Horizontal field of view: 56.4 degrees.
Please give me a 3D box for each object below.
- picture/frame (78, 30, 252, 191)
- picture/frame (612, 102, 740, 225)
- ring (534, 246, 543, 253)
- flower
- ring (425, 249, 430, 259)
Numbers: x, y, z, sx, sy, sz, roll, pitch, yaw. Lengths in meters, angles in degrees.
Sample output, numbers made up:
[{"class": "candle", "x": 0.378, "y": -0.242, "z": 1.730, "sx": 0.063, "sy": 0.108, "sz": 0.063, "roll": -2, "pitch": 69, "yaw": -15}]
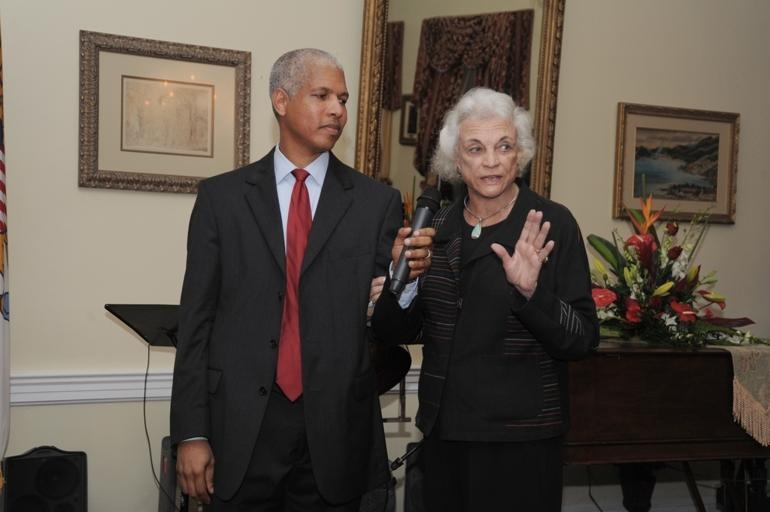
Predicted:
[{"class": "picture/frame", "x": -1.418, "y": -0.899, "z": 4.469, "sx": 1.084, "sy": 0.998, "sz": 0.093, "roll": 2, "pitch": -3, "yaw": -20}, {"class": "picture/frame", "x": 2.085, "y": -0.664, "z": 5.235, "sx": 0.875, "sy": 0.805, "sz": 0.072, "roll": 2, "pitch": -3, "yaw": -13}, {"class": "ring", "x": 0.682, "y": -0.028, "z": 3.197, "sx": 0.026, "sy": 0.018, "sz": 0.068, "roll": 8, "pitch": 1, "yaw": 21}, {"class": "flower", "x": 1.690, "y": 0.124, "z": 4.833, "sx": 1.315, "sy": 1.175, "sz": 1.214, "roll": 7, "pitch": -8, "yaw": 1}, {"class": "ring", "x": 0.193, "y": -0.011, "z": 3.201, "sx": 0.023, "sy": 0.034, "sz": 0.012, "roll": -1, "pitch": -4, "yaw": -14}]
